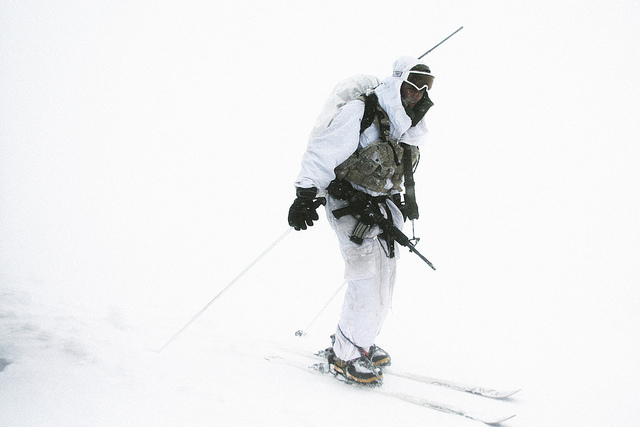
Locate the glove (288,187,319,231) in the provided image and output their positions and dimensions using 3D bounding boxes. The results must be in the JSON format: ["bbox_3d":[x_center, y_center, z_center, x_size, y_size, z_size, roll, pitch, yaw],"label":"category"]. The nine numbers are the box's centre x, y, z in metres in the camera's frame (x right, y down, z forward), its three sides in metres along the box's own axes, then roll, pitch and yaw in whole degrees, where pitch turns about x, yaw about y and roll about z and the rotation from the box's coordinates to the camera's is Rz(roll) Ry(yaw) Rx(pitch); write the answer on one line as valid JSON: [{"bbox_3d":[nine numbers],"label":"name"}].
[{"bbox_3d":[-0.166,-0.046,5.866,0.258,0.436,0.122,4,-4,-4],"label":"glove"}]

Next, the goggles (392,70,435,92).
[{"bbox_3d":[0.979,-1.440,6.270,0.430,0.199,0.151,26,-19,0],"label":"goggles"}]

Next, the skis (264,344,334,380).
[{"bbox_3d":[-0.207,1.654,6.604,0.564,0.015,0.297,9,18,30],"label":"skis"}]

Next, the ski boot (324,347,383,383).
[{"bbox_3d":[0.328,1.618,6.379,0.629,0.239,0.300,9,-32,28],"label":"ski boot"}]

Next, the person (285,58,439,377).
[{"bbox_3d":[0.426,-0.044,6.315,0.929,3.152,1.591,6,-26,42],"label":"person"}]
